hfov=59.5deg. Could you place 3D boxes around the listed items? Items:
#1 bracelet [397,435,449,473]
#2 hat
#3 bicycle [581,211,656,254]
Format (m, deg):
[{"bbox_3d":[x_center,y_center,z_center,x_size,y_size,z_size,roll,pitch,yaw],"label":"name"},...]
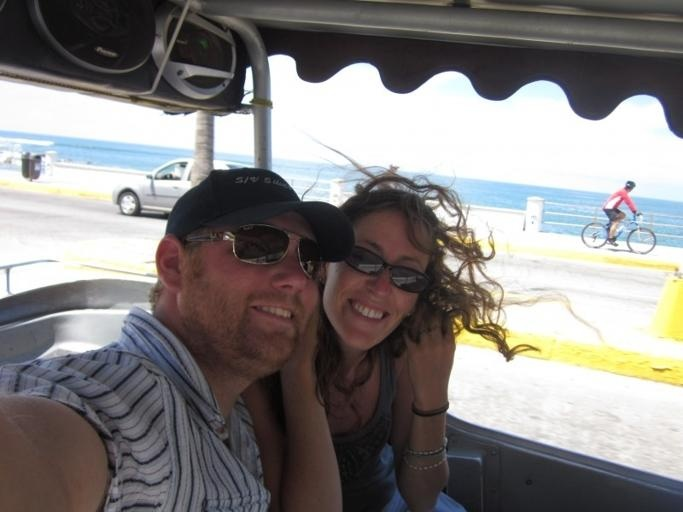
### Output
[{"bbox_3d":[0.442,1.078,3.248,0.212,0.116,0.276,-1,-4,0],"label":"bracelet"},{"bbox_3d":[-0.329,-0.114,2.390,0.563,0.322,0.430,-15,-16,27],"label":"hat"},{"bbox_3d":[9.036,-0.653,19.545,2.372,1.466,1.188,7,20,22],"label":"bicycle"}]
